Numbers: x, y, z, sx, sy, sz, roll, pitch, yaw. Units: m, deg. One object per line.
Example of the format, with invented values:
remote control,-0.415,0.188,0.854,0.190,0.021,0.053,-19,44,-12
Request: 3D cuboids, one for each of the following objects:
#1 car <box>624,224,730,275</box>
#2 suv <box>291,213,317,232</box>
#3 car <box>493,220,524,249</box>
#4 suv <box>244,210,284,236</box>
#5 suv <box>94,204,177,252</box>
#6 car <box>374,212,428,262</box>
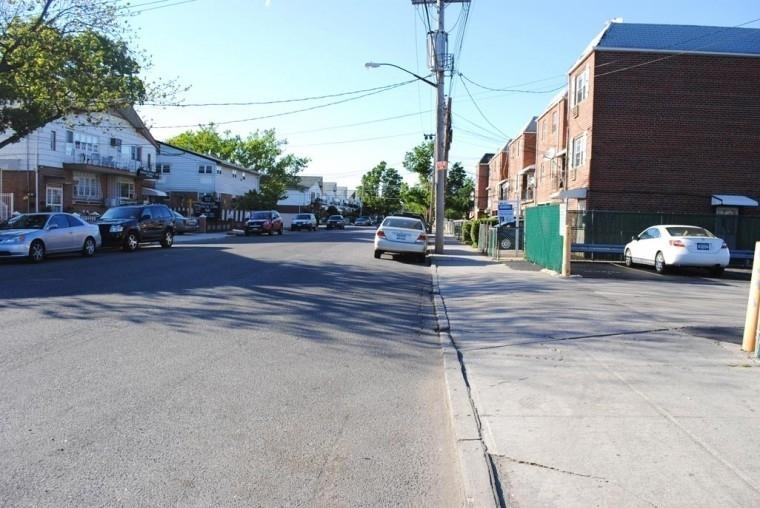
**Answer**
car,9.519,-0.129,19.769,1.613,1.585,2.899,-2,11,-14
suv,-7.484,-3.160,61.385,1.482,1.271,2.539,-1,-4,4
car,6.244,-0.895,29.301,2.081,1.031,1.248,-3,6,-7
suv,-8.331,-2.232,44.360,1.428,1.161,2.898,-1,-2,2
suv,-9.947,-0.996,24.823,1.122,1.894,3.426,5,11,19
car,0.794,-0.574,22.695,1.860,1.385,0.905,1,11,2
